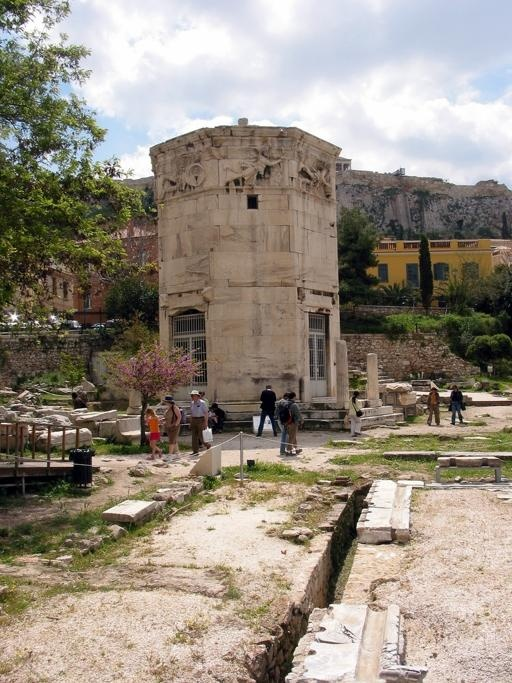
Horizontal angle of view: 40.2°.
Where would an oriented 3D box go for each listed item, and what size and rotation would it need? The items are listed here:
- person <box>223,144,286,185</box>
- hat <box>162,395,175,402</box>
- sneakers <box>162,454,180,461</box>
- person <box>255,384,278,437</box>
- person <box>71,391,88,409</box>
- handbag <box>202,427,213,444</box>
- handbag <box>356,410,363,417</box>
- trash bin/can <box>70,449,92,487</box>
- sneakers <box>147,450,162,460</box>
[{"bbox_3d":[-0.099,-4.931,20.110,2.215,0.746,1.011,-18,-32,-13],"label":"person"},{"bbox_3d":[-1.779,1.159,14.132,0.277,0.104,0.289,4,0,11],"label":"hat"},{"bbox_3d":[-1.656,2.290,13.761,0.343,0.132,0.113,14,-13,-35],"label":"sneakers"},{"bbox_3d":[0.249,1.768,17.505,0.498,1.313,1.185,-3,-2,0],"label":"person"},{"bbox_3d":[-5.711,1.896,22.623,0.338,0.454,0.705,9,5,-7],"label":"person"},{"bbox_3d":[-0.937,1.806,13.406,0.161,0.256,0.248,-3,-2,-8],"label":"handbag"},{"bbox_3d":[2.641,1.835,17.885,0.120,0.139,0.377,0,3,11],"label":"handbag"},{"bbox_3d":[-2.642,1.921,10.616,0.310,0.565,0.394,-3,-2,-18],"label":"trash bin/can"},{"bbox_3d":[-2.016,2.289,14.027,0.117,0.148,0.367,-3,-13,8],"label":"sneakers"}]
